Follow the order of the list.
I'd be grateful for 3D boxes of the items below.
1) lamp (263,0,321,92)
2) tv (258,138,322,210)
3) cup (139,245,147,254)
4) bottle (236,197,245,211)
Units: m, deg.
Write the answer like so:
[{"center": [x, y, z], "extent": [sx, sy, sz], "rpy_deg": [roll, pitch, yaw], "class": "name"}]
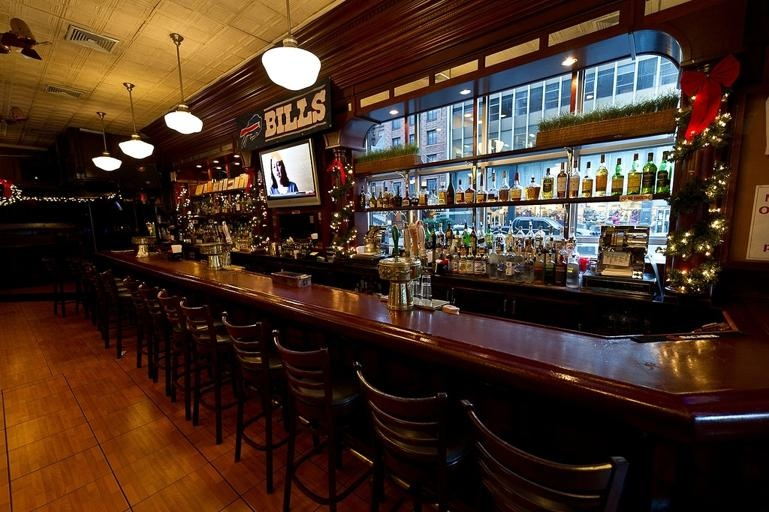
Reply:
[{"center": [-0.982, -2.048, 5.261], "extent": [0.593, 0.504, 0.294], "rpy_deg": [-1, 6, -14], "class": "lamp"}, {"center": [-1.444, -1.229, 7.595], "extent": [0.277, 0.947, 1.230], "rpy_deg": [-5, 8, -44], "class": "tv"}, {"center": [-3.733, -0.087, 7.696], "extent": [0.113, 0.146, 0.186], "rpy_deg": [-2, 6, -25], "class": "cup"}, {"center": [-2.527, -0.894, 8.680], "extent": [0.095, 0.224, 0.223], "rpy_deg": [-5, 7, -41], "class": "bottle"}]
